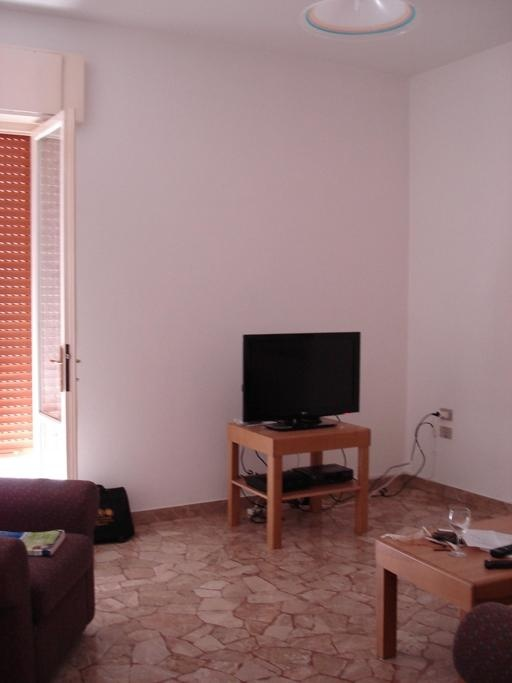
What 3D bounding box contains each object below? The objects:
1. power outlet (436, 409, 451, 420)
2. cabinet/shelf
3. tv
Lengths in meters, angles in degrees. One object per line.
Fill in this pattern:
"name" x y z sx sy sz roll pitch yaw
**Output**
"power outlet" 1.299 0.506 4.184 0.024 0.063 0.100 6 1 -40
"cabinet/shelf" 0.253 0.792 3.583 0.717 0.616 0.564 -1 1 -27
"tv" 0.250 0.231 3.603 0.613 0.407 0.159 -2 8 -25
